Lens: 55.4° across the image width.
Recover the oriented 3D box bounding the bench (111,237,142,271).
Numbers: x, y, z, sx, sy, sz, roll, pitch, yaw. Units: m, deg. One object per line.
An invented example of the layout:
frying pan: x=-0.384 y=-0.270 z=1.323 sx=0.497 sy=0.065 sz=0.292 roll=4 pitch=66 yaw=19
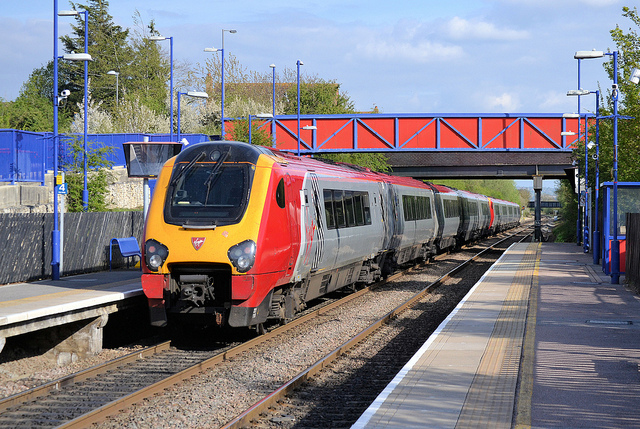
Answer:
bench: x=-7.026 y=1.168 z=22.061 sx=1.138 sy=1.195 sz=1.719 roll=0 pitch=20 yaw=-25

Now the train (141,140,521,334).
train: x=9.163 y=-0.597 z=42.370 sx=2.783 sy=5.097 sz=63.831 roll=0 pitch=3 yaw=22
